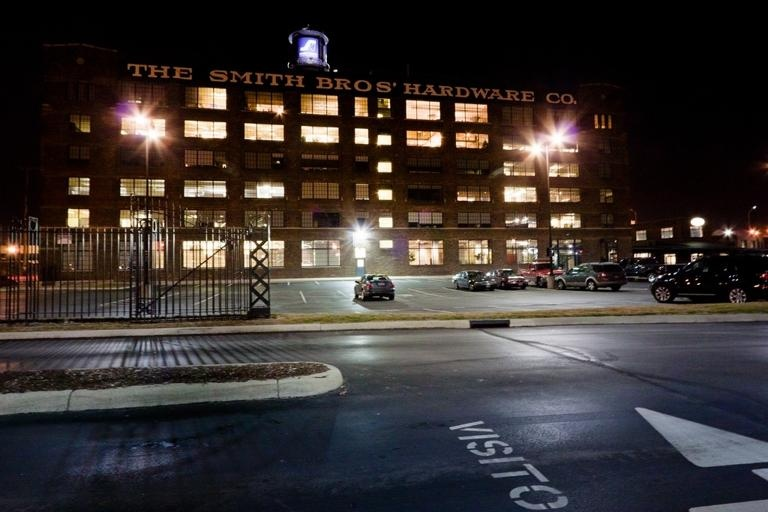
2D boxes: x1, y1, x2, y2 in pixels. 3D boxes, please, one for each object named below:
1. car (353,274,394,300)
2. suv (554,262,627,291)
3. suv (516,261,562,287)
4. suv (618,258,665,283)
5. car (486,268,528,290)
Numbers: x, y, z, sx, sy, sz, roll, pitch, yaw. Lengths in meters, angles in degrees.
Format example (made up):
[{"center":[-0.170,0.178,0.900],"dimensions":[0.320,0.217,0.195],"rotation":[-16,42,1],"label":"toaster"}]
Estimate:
[{"center":[-0.635,1.571,32.102],"dimensions":[1.558,1.290,2.157],"rotation":[-2,-2,-24],"label":"car"},{"center":[12.341,1.192,37.044],"dimensions":[1.881,1.065,3.553],"rotation":[0,2,-20],"label":"suv"},{"center":[10.643,1.181,41.428],"dimensions":[2.067,1.247,3.236],"rotation":[-1,-2,-12],"label":"suv"},{"center":[17.977,0.976,43.595],"dimensions":[2.162,1.353,4.243],"rotation":[-1,3,-37],"label":"suv"},{"center":[7.549,1.436,39.703],"dimensions":[1.380,0.763,2.660],"rotation":[0,-3,-17],"label":"car"}]
